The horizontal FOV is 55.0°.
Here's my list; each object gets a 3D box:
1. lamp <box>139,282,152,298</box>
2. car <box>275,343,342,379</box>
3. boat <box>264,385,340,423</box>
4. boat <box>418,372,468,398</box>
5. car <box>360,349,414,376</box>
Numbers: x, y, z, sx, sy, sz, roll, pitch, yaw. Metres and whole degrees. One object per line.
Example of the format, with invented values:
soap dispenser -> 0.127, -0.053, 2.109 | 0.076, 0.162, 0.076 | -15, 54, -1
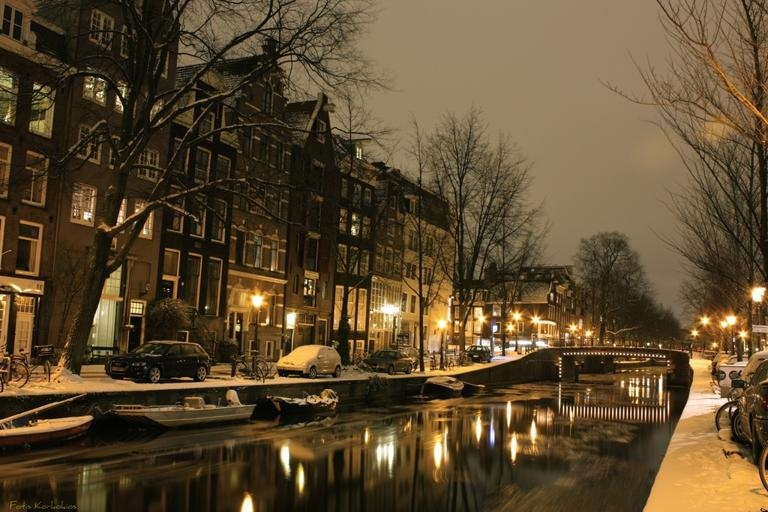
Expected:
lamp -> -14.702, 2.097, 45.331 | 0.687, 0.872, 0.704 | 1, -1, -9
car -> -4.540, 6.514, 45.248 | 1.917, 1.443, 3.188 | -8, -16, 32
boat -> -4.270, 8.134, 40.060 | 2.188, 2.094, 4.166 | -11, -19, 37
boat -> 4.338, 9.441, 53.545 | 2.657, 0.855, 1.433 | 3, -3, -41
car -> 0.389, 7.803, 53.967 | 2.031, 2.030, 3.706 | -11, -18, 37
